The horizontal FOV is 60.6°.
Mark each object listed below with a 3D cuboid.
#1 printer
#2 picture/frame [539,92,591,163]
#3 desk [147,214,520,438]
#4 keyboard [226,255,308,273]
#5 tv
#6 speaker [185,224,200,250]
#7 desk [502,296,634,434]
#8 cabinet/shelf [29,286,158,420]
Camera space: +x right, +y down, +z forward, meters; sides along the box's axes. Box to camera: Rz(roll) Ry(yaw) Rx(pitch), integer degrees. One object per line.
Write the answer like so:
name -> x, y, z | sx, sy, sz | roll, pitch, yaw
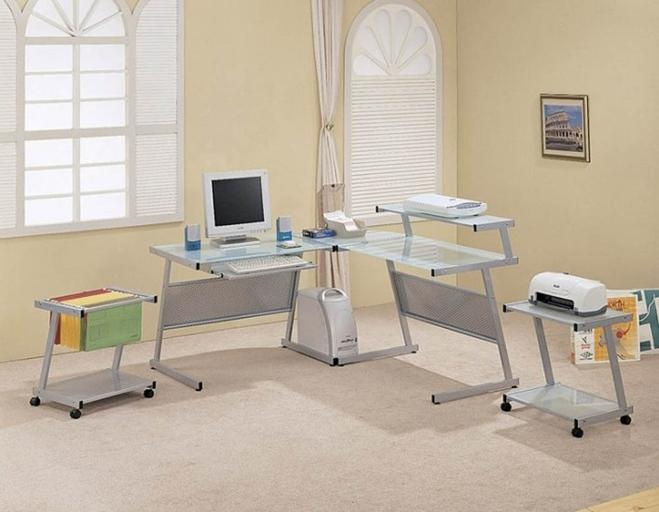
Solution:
printer -> 1.390, 0.218, 3.345 | 0.211, 0.208, 0.428 | -7, 11, -39
picture/frame -> 2.227, -1.218, 5.287 | 0.031, 0.692, 0.685 | -10, 12, -32
desk -> 0.102, 0.240, 4.257 | 1.918, 1.113, 1.845 | -5, 9, -32
keyboard -> -0.439, 0.051, 4.135 | 0.589, 0.085, 0.234 | -4, 9, -27
tv -> -0.737, -0.387, 4.404 | 0.543, 0.542, 0.304 | -9, 17, -30
speaker -> -1.024, -0.144, 4.255 | 0.120, 0.184, 0.123 | -4, 9, -23
desk -> 1.503, 0.641, 3.505 | 0.705, 0.713, 0.583 | -4, 9, -26
cabinet/shelf -> -1.588, 0.627, 3.844 | 0.461, 0.638, 0.708 | 0, 0, 28
